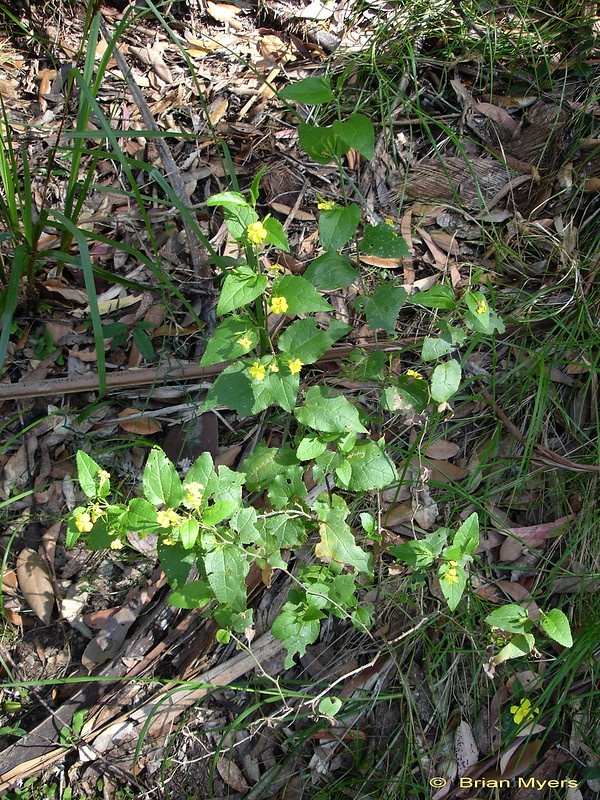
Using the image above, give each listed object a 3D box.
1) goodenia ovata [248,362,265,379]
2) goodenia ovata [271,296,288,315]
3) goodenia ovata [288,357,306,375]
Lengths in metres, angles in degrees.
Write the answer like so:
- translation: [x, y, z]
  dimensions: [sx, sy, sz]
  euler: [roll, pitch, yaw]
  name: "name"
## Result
- translation: [-0.107, -0.071, 1.682]
  dimensions: [0.033, 0.052, 0.041]
  euler: [5, 54, 8]
  name: "goodenia ovata"
- translation: [-0.048, -0.243, 1.681]
  dimensions: [0.045, 0.016, 0.042]
  euler: [1, 94, 16]
  name: "goodenia ovata"
- translation: [-0.012, -0.086, 1.686]
  dimensions: [0.037, 0.050, 0.045]
  euler: [-3, 54, 2]
  name: "goodenia ovata"
